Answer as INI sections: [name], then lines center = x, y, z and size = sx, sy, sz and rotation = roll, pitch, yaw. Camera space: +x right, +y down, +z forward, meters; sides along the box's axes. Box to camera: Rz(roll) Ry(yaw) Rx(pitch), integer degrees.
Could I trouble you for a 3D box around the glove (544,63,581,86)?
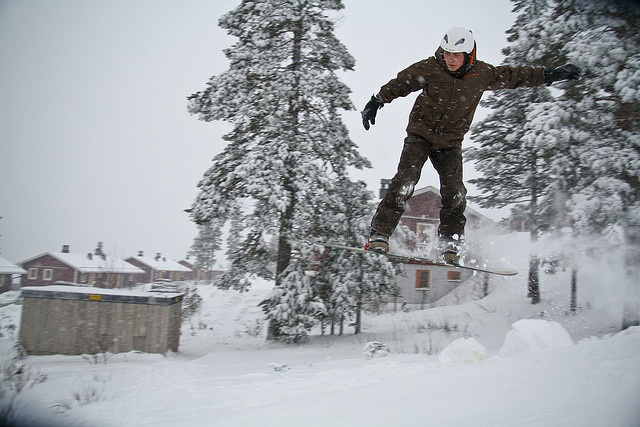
[glove]
center = 5.643, -3.184, 11.493
size = 0.848, 0.449, 0.216
rotation = -17, -37, -10
